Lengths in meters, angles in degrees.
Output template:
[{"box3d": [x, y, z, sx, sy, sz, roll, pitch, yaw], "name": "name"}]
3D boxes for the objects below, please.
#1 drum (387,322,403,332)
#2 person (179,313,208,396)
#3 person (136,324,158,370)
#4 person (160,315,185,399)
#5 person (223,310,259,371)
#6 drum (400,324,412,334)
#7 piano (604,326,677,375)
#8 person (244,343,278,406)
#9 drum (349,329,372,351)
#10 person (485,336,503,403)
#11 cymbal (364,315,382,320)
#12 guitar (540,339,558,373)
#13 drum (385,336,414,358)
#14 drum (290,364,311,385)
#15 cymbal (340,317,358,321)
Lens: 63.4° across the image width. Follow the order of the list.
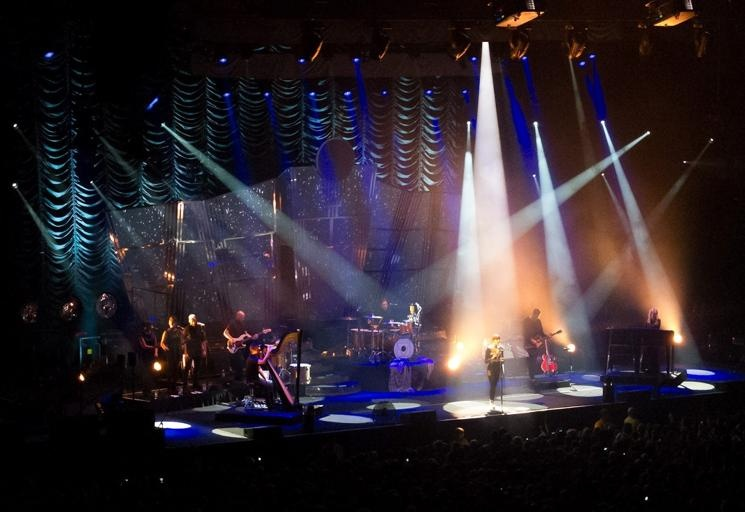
[{"box3d": [0.624, 1.943, 16.455, 0.356, 0.265, 0.510, 0, -5, 1], "name": "drum"}, {"box3d": [-4.280, 2.357, 14.597, 0.542, 2.005, 0.618, -2, 5, -44], "name": "person"}, {"box3d": [-5.472, 2.189, 14.753, 0.458, 1.105, 0.868, 1, -4, -19], "name": "person"}, {"box3d": [-4.724, 2.357, 14.469, 0.496, 1.773, 0.962, 0, -4, -2], "name": "person"}, {"box3d": [-3.411, 2.190, 15.713, 0.743, 1.726, 0.863, 2, 3, 40], "name": "person"}, {"box3d": [0.910, 1.934, 16.280, 0.316, 0.251, 0.196, -1, -4, 3], "name": "drum"}, {"box3d": [6.768, 2.354, 15.374, 1.589, 1.411, 1.640, -3, -6, 19], "name": "piano"}, {"box3d": [-2.390, 2.559, 12.875, 0.525, 1.409, 0.508, 2, 6, 10], "name": "person"}, {"box3d": [-0.311, 2.312, 16.622, 0.535, 0.552, 0.555, -2, -10, 7], "name": "drum"}, {"box3d": [2.838, 2.609, 14.091, 0.386, 1.538, 1.647, -1, -4, 10], "name": "person"}, {"box3d": [0.052, 1.740, 17.064, 0.386, 0.139, 0.940, -1, -5, 3], "name": "cymbal"}, {"box3d": [4.973, 2.875, 17.236, 0.520, 1.018, 0.373, 0, -5, -9], "name": "guitar"}, {"box3d": [0.743, 2.399, 15.966, 0.790, 0.628, 0.475, -1, -4, 7], "name": "drum"}, {"box3d": [-1.781, 3.012, 15.447, 0.576, 0.578, 0.591, -1, -8, 2], "name": "drum"}, {"box3d": [-0.635, 1.786, 17.001, 0.432, 0.127, 0.473, 4, -7, -41], "name": "cymbal"}]
